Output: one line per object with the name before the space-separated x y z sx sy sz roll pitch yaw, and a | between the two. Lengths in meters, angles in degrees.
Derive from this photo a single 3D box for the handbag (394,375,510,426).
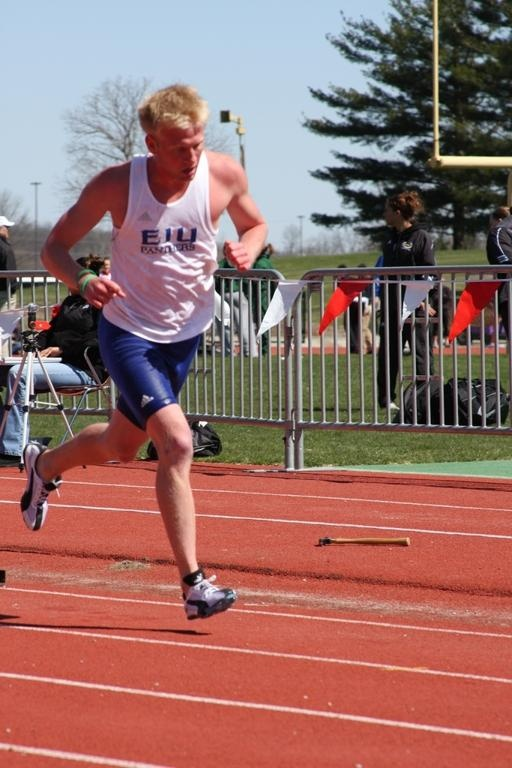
handbag | 1.491 0.149 6.989 0.507 0.237 0.631 1 -3 1

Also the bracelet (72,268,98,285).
bracelet | -0.569 -0.361 3.161 0.056 0.038 0.074 -9 -10 -21

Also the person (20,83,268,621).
person | -0.436 -0.167 3.418 0.706 1.718 1.415 -3 10 -42

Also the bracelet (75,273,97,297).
bracelet | -0.574 -0.342 3.137 0.064 0.083 0.043 4 16 -29

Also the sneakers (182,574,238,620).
sneakers | -0.165 0.688 3.062 0.139 0.157 0.177 1 1 -28

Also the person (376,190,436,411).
person | 1.502 -0.925 9.703 0.651 2.049 0.616 10 25 31
